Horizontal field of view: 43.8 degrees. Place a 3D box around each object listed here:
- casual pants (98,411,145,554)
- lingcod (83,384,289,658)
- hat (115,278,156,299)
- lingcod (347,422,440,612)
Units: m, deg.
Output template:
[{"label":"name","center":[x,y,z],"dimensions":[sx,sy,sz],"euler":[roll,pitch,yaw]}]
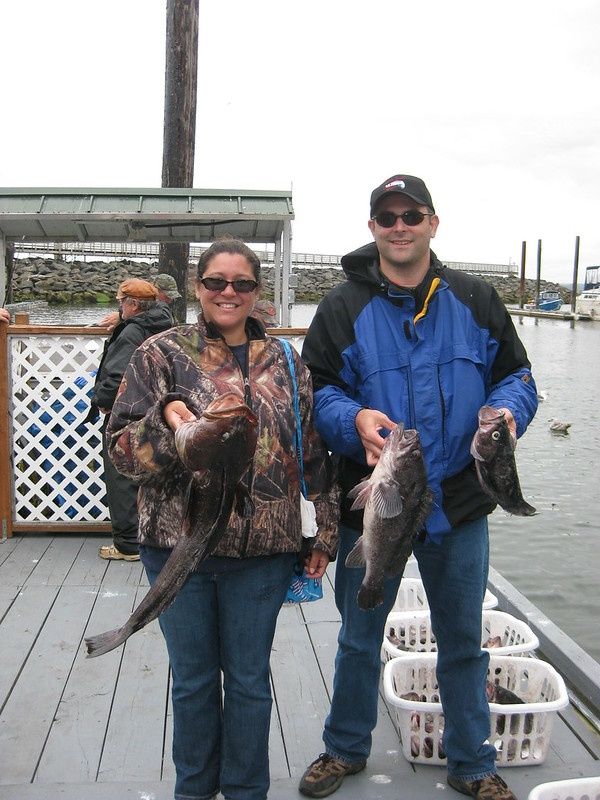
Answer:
[{"label":"casual pants","center":[-1.199,0.576,5.019],"dimensions":[0.305,0.841,0.230],"euler":[2,-11,13]},{"label":"lingcod","center":[-0.341,0.356,2.051],"dimensions":[0.303,0.757,0.193],"euler":[23,-7,0]},{"label":"hat","center":[-1.130,-0.766,5.034],"dimensions":[0.228,0.093,0.158],"euler":[14,16,35]},{"label":"lingcod","center":[0.299,0.385,2.492],"dimensions":[0.302,0.656,0.246],"euler":[-7,13,-44]}]
